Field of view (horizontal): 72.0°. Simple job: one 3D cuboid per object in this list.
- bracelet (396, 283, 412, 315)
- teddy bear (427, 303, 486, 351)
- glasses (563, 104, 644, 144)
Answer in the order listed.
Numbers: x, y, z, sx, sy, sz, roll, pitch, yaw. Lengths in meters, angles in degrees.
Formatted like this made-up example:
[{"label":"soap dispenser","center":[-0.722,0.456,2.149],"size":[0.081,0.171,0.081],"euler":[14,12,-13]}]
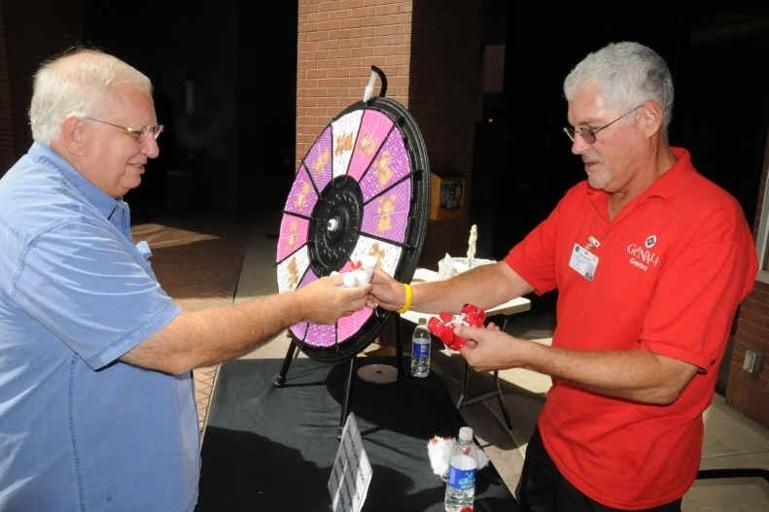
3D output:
[{"label":"bracelet","center":[0.103,0.227,2.656],"size":[0.044,0.125,0.105],"euler":[1,1,-19]},{"label":"teddy bear","center":[0.323,0.324,2.402],"size":[0.248,0.097,0.251],"euler":[0,21,33]},{"label":"glasses","center":[0.946,-0.561,2.282],"size":[0.182,0.056,0.174],"euler":[-29,17,-3]}]
